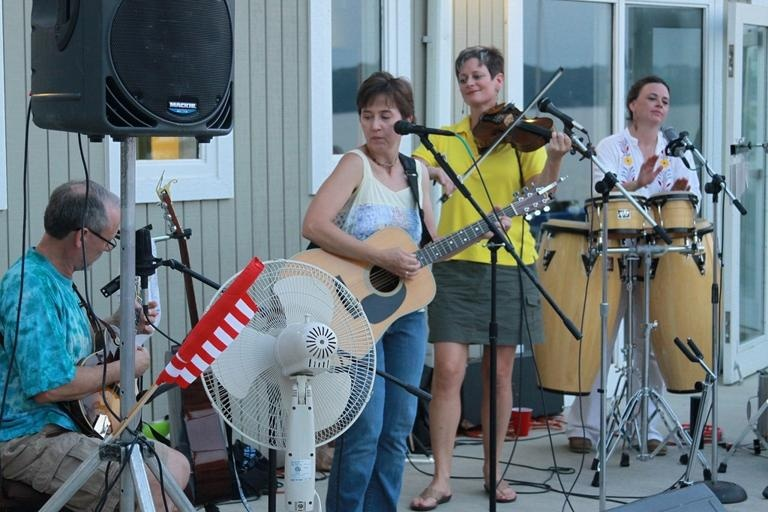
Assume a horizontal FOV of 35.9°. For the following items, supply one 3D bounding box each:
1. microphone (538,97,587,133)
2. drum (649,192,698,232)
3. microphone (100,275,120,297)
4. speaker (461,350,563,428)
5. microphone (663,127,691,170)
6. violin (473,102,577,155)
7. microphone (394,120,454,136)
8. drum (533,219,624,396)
[{"bbox_3d":[0.872,-0.680,5.927,0.230,0.170,0.228,1,1,-6],"label":"microphone"},{"bbox_3d":[1.629,-0.226,6.709,0.289,0.235,0.093,0,1,-11],"label":"drum"},{"bbox_3d":[-1.355,0.168,5.892,0.011,0.053,0.122,2,46,47],"label":"microphone"},{"bbox_3d":[0.791,0.898,7.550,0.258,0.493,0.860,-6,-10,13],"label":"speaker"},{"bbox_3d":[1.642,-0.605,6.676,0.128,0.231,0.586,1,1,15],"label":"microphone"},{"bbox_3d":[0.725,-0.697,6.299,0.429,0.256,0.356,28,37,29],"label":"violin"},{"bbox_3d":[0.184,-0.595,5.663,0.271,0.084,0.432,1,1,0],"label":"microphone"},{"bbox_3d":[1.121,0.349,7.416,0.698,1.400,0.807,4,-3,7],"label":"drum"}]
